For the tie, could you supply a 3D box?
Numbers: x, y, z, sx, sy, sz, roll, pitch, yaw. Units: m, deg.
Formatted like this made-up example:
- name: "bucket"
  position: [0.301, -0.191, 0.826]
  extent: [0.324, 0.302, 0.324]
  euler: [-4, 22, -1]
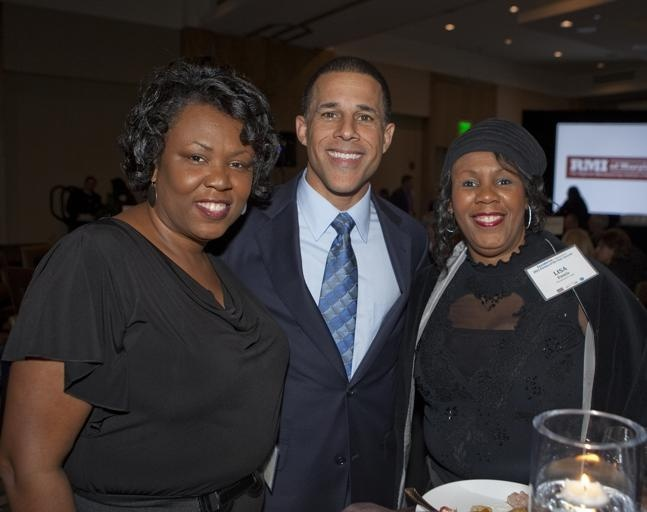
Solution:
- name: "tie"
  position: [0.066, 0.202, 2.494]
  extent: [0.152, 0.578, 0.213]
  euler: [0, 8, 12]

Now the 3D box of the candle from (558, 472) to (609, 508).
- name: "candle"
  position: [0.617, 0.563, 1.388]
  extent: [0.083, 0.052, 0.084]
  euler: [0, 4, 37]
